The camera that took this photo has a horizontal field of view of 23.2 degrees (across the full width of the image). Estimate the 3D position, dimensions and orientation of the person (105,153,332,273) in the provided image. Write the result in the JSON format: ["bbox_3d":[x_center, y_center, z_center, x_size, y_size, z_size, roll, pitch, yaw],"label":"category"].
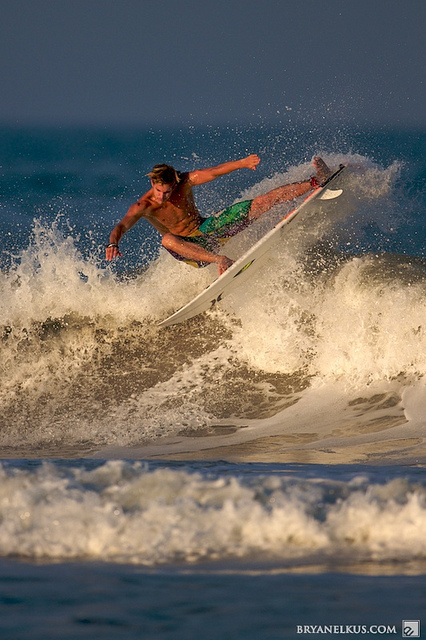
[{"bbox_3d":[0.245,-0.720,7.741,0.910,0.539,1.408,19,48,42],"label":"person"}]

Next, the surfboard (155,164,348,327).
[{"bbox_3d":[0.434,-0.564,8.488,1.953,0.281,0.472,-38,-14,-4],"label":"surfboard"}]
